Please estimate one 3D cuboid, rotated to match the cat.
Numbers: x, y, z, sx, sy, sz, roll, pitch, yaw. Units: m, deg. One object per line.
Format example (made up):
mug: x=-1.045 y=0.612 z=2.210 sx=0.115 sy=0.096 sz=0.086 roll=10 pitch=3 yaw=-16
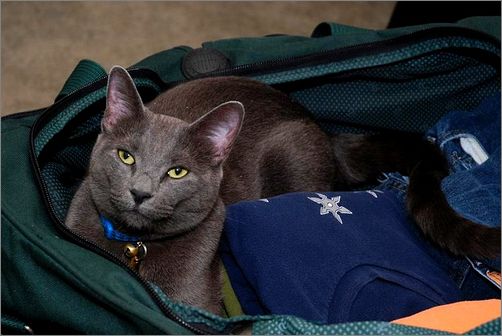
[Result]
cat: x=-0.013 y=-0.040 z=1.631 sx=0.945 sy=0.462 sz=0.707 roll=-30 pitch=53 yaw=-33
